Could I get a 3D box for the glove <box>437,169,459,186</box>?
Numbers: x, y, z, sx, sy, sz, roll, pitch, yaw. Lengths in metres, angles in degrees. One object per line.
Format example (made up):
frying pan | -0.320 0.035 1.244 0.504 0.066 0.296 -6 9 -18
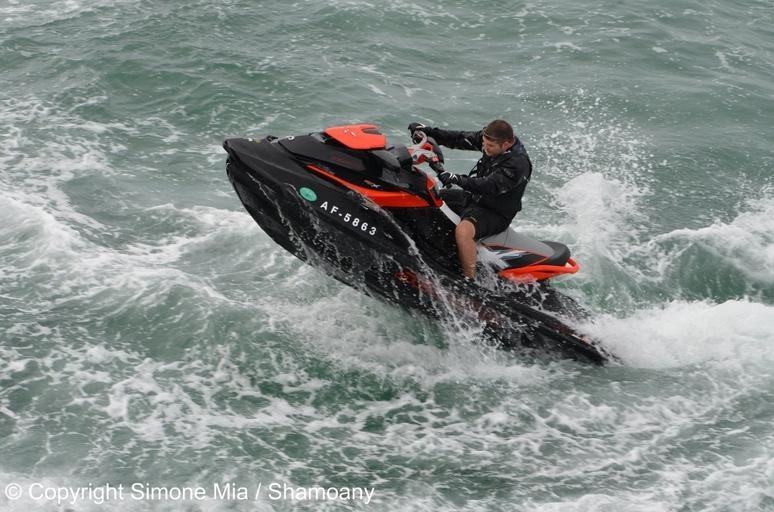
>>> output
glove | 0.859 -1.042 11.705 0.276 0.219 0.173 -2 50 3
